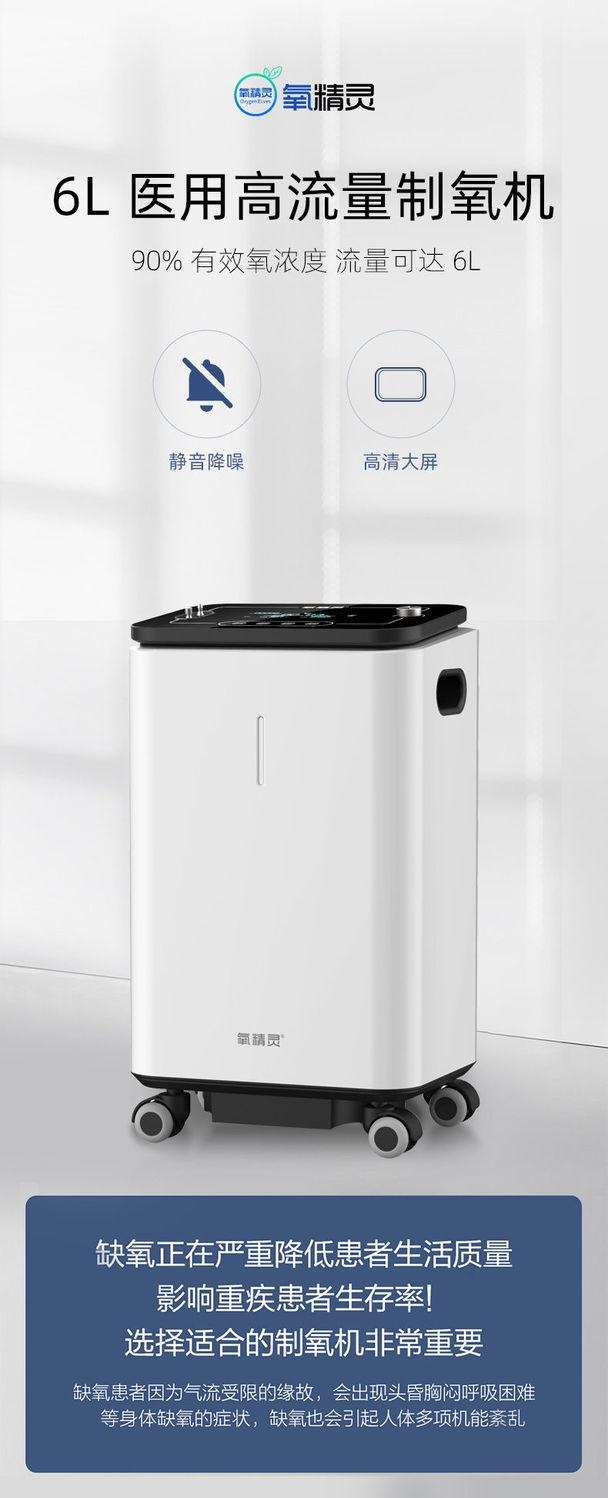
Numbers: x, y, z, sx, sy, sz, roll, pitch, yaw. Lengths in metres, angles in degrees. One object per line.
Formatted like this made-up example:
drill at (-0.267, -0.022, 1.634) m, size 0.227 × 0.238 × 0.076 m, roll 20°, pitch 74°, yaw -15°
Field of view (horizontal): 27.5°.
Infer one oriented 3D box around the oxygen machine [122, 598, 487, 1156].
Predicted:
oxygen machine at (-0.002, 0.192, 1.709) m, size 0.481 × 0.767 × 0.321 m, roll 3°, pitch 13°, yaw 13°
